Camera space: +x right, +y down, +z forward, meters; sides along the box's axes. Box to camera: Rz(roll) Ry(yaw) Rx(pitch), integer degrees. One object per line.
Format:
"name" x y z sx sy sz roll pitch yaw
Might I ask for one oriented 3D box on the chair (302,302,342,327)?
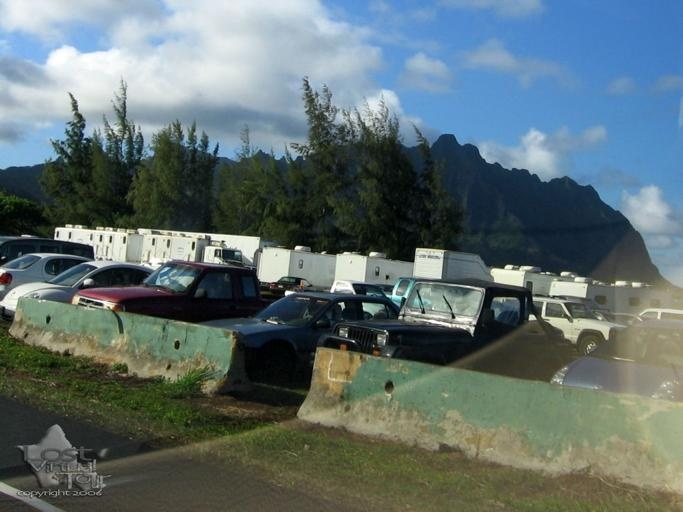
"chair" -0.316 1.143 9.827 0.386 0.280 0.579 7 8 39

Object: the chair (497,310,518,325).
"chair" 2.967 1.097 9.340 0.339 0.302 0.253 19 -14 -19
